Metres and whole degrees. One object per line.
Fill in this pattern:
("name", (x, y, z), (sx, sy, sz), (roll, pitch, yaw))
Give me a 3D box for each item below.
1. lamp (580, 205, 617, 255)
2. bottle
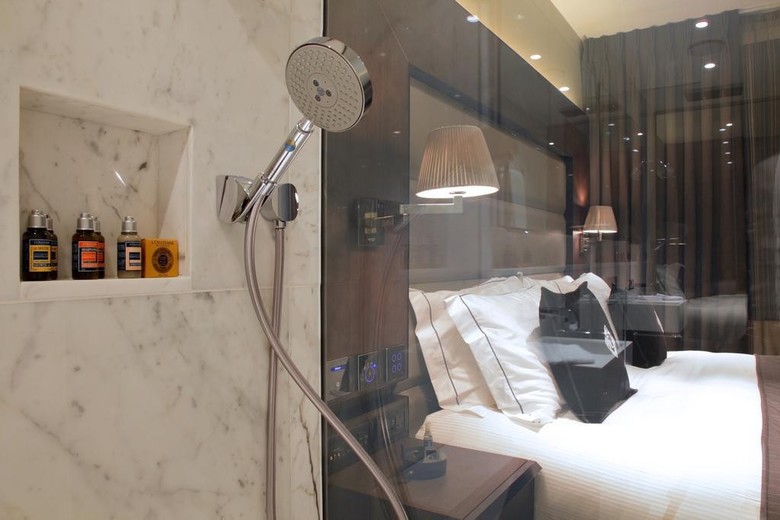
("lamp", (0.539, -0.089, 1.506), (0.081, 0.091, 0.086), (-2, -6, 36))
("bottle", (-0.720, -0.022, 1.401), (0.257, 0.184, 0.075), (1, -21, -35))
